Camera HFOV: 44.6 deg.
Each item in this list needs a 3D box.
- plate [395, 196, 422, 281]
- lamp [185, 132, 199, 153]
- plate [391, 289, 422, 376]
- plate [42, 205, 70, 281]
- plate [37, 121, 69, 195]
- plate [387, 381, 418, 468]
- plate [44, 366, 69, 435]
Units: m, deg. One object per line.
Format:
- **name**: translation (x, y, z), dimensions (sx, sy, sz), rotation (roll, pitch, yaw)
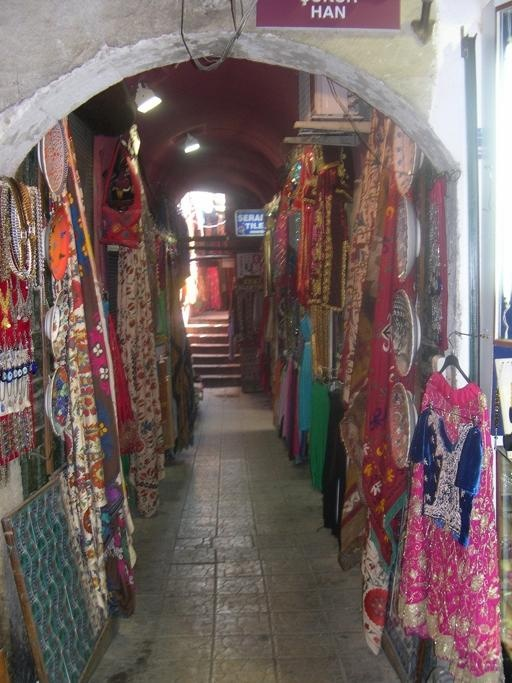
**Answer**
- **plate**: translation (0.528, -0.359, 2.164), dimensions (0.072, 0.288, 0.150), rotation (-3, 6, 7)
- **lamp**: translation (-0.715, -2.227, 6.893), dimensions (0.143, 0.231, 0.524), rotation (-5, 6, -7)
- **plate**: translation (0.533, -0.031, 2.190), dimensions (0.075, 0.308, 0.214), rotation (-4, 6, -1)
- **plate**: translation (-0.676, -0.345, 2.149), dimensions (0.071, 0.263, 0.131), rotation (-5, 6, -9)
- **plate**: translation (-0.688, -0.629, 2.118), dimensions (0.058, 0.237, 0.236), rotation (-5, 3, 4)
- **plate**: translation (0.504, 0.283, 2.206), dimensions (0.032, 0.191, 0.191), rotation (-11, 17, 29)
- **plate**: translation (-0.698, 0.210, 2.188), dimensions (0.049, 0.237, 0.125), rotation (-3, 6, 5)
